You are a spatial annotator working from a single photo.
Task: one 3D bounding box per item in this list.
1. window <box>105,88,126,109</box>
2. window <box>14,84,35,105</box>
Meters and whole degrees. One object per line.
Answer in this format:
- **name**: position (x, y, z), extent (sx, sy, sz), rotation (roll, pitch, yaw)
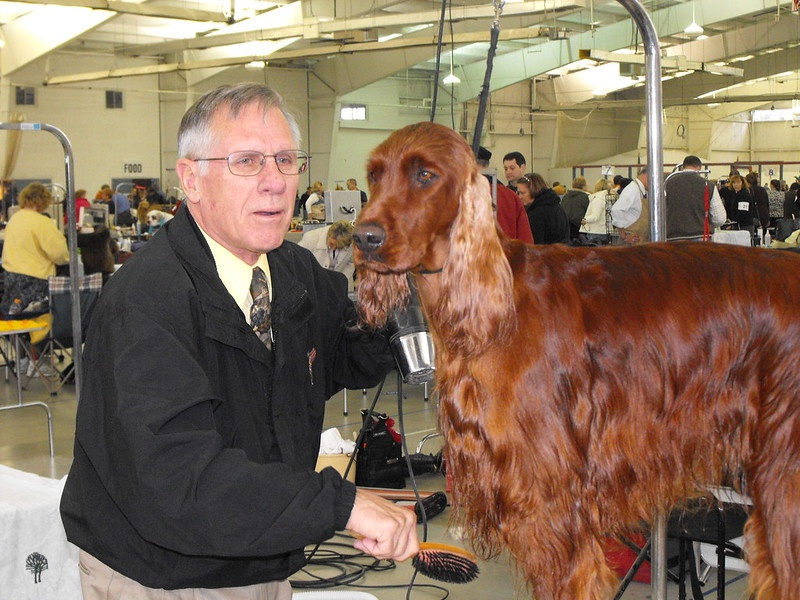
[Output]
- **window**: position (-9.025, -6.371, 24.261), extent (0.689, 0.739, 0.055), rotation (0, 5, -29)
- **window**: position (-10.858, -5.930, 22.154), extent (0.061, 0.560, 0.623), rotation (1, 2, 40)
